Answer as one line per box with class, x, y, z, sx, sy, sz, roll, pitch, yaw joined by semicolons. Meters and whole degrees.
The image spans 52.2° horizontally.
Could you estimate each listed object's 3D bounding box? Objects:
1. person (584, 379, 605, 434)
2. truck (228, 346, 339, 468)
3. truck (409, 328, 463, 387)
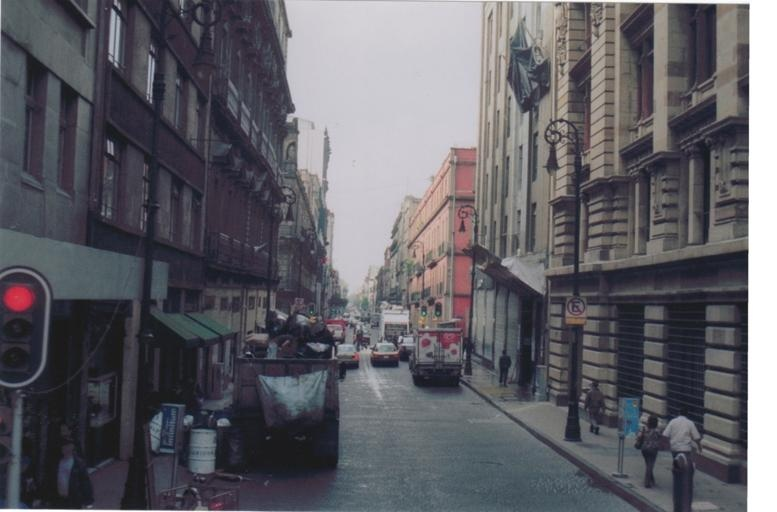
person;7.593;5.508;29.162;0.632;1.820;0.928;-6;-12;25
truck;-3.279;4.796;25.261;4.014;4.561;2.749;1;-9;-7
truck;2.617;4.999;40.228;1.753;2.206;3.466;1;-4;0
